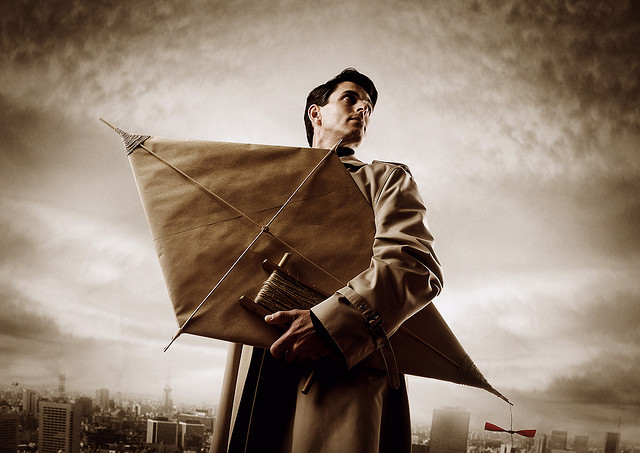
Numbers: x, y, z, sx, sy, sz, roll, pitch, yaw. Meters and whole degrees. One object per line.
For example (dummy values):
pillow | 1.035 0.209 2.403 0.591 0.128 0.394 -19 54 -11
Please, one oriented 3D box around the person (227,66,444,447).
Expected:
person | 0.153 0.102 3.421 1.000 2.221 0.530 7 -19 -6

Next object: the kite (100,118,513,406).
kite | -0.180 0.143 3.293 2.352 1.270 0.205 34 -8 7
